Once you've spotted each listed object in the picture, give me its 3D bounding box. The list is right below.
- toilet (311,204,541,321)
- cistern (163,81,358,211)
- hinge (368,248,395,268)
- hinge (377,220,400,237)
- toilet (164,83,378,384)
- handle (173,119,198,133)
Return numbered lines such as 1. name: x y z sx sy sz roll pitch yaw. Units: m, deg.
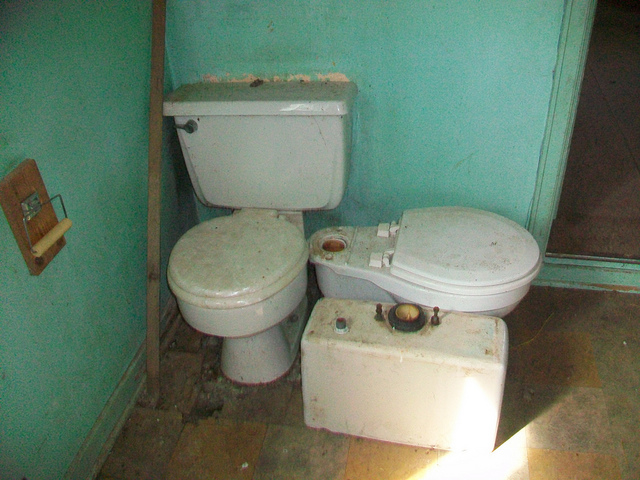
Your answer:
1. toilet: 0.359 0.059 1.925 0.684 0.265 0.444 3 41 10
2. cistern: -0.177 -0.321 2.074 0.765 0.519 0.442 2 45 7
3. hinge: 0.211 0.063 1.949 0.077 0.029 0.062 0 41 13
4. hinge: 0.250 -0.040 2.089 0.056 0.024 0.059 12 51 14
5. toilet: -0.245 -0.016 2.050 0.703 0.945 0.832 4 28 11
6. handle: -0.470 -0.396 1.963 0.060 0.030 0.044 -1 7 18
